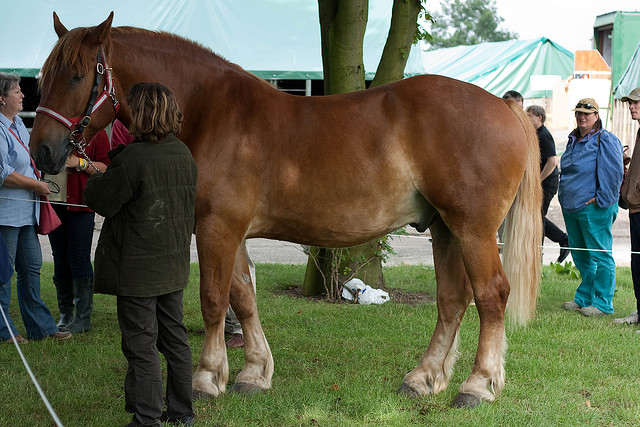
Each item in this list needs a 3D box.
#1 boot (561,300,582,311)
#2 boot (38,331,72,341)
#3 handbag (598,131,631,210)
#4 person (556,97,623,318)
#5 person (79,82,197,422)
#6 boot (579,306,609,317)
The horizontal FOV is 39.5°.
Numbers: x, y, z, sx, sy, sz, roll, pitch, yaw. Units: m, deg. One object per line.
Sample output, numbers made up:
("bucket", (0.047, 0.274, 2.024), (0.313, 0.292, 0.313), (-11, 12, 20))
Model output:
("boot", (3.447, 1.288, 12.247), (0.219, 0.106, 0.107), (10, 0, 5))
("boot", (-3.236, 1.506, 10.774), (0.359, 0.158, 0.123), (3, -4, -9))
("handbag", (4.031, -0.664, 12.022), (0.369, 1.195, 0.373), (-4, -3, 3))
("person", (3.664, -0.111, 12.114), (0.837, 2.954, 0.809), (1, 4, 14))
("person", (-1.768, 0.420, 8.959), (1.022, 3.477, 0.292), (-1, 4, -11))
("boot", (3.646, 1.330, 11.906), (0.324, 0.141, 0.122), (4, -2, -10))
